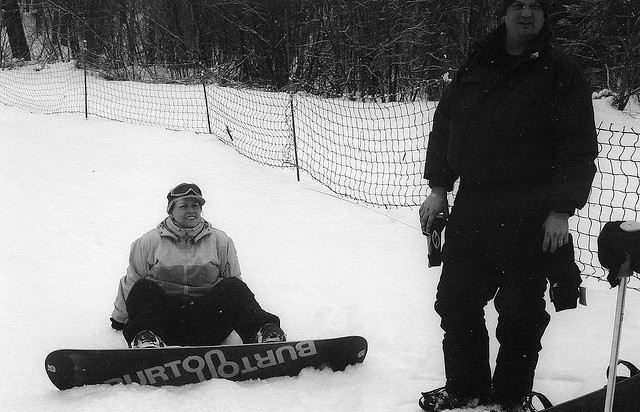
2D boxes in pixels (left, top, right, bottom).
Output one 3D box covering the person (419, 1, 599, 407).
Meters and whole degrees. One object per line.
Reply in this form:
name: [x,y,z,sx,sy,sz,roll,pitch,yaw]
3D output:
person: [1.516,0.031,6.017,1.362,3.359,0.669,3,12,19]
